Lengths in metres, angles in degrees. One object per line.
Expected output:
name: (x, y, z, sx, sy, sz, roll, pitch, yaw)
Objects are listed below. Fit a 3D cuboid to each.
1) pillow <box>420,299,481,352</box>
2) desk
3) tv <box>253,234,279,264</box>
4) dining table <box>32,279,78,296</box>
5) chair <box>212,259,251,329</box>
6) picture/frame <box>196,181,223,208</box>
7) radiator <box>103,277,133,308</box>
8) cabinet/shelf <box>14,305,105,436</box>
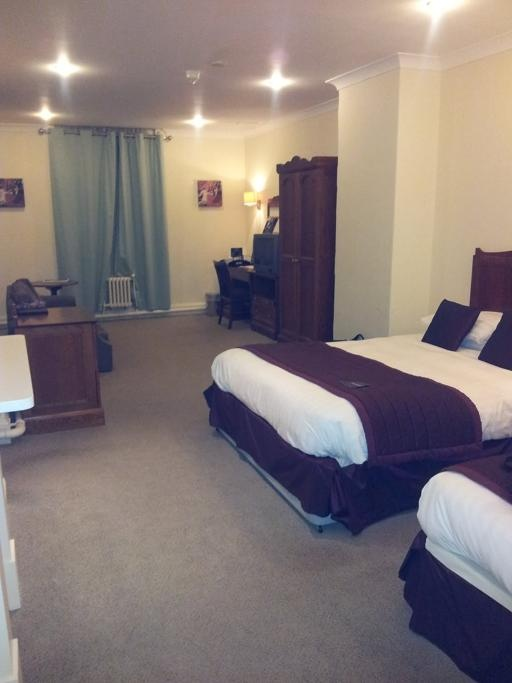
pillow: (1.294, -0.101, 3.473, 0.078, 0.325, 0.349, 20, 11, -17)
desk: (-0.168, -0.510, 6.527, 0.393, 0.765, 1.128, 0, -7, 37)
tv: (0.144, -1.127, 6.358, 0.178, 0.374, 0.355, -3, 10, -23)
dining table: (-2.520, -0.676, 6.655, 0.446, 0.208, 1.079, -3, 10, -18)
chair: (-0.312, -0.643, 7.292, 0.576, 1.176, 0.611, -6, 18, -18)
picture/frame: (-0.716, -2.244, 7.952, 0.340, 0.414, 0.036, -5, 9, -33)
radiator: (-1.955, -0.727, 7.530, 0.340, 0.569, 0.504, -2, 12, -11)
cabinet/shelf: (-1.472, 0.070, 3.949, 0.562, 0.862, 0.828, -5, 30, -19)
